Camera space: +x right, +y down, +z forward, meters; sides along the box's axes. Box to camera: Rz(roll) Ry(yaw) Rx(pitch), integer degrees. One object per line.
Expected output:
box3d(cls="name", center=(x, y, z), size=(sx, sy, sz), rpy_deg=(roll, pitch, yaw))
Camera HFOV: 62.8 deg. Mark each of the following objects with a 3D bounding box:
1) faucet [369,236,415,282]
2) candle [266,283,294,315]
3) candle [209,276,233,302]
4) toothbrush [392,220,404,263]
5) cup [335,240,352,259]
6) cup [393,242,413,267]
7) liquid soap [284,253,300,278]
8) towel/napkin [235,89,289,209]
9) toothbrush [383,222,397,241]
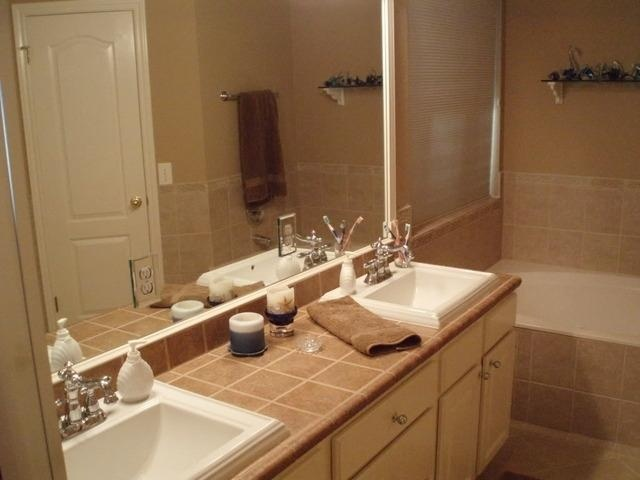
box3d(cls="faucet", center=(0.328, 0.087, 2.454), size=(0.114, 0.209, 0.347), rpy_deg=(3, 10, 34))
box3d(cls="candle", center=(-0.136, 0.208, 1.874), size=(0.088, 0.078, 0.090), rpy_deg=(-1, 5, -15))
box3d(cls="candle", center=(-0.347, 0.170, 1.838), size=(0.070, 0.075, 0.075), rpy_deg=(2, 4, 20))
box3d(cls="toothbrush", center=(0.374, 0.004, 2.566), size=(0.037, 0.191, 0.096), rpy_deg=(-4, 6, 37))
box3d(cls="cup", center=(0.109, 0.037, 2.412), size=(0.066, 0.114, 0.072), rpy_deg=(0, 7, 0))
box3d(cls="cup", center=(0.397, 0.070, 2.537), size=(0.063, 0.111, 0.068), rpy_deg=(-3, 25, 1))
box3d(cls="liquid soap", center=(-0.107, 0.103, 2.164), size=(0.073, 0.073, 0.071), rpy_deg=(-12, 17, -41))
box3d(cls="towel/napkin", center=(-0.224, -0.352, 1.963), size=(0.046, 0.474, 0.373), rpy_deg=(1, 13, 24))
box3d(cls="toothbrush", center=(0.349, -0.049, 2.611), size=(0.057, 0.110, 0.055), rpy_deg=(-23, 29, -37))
